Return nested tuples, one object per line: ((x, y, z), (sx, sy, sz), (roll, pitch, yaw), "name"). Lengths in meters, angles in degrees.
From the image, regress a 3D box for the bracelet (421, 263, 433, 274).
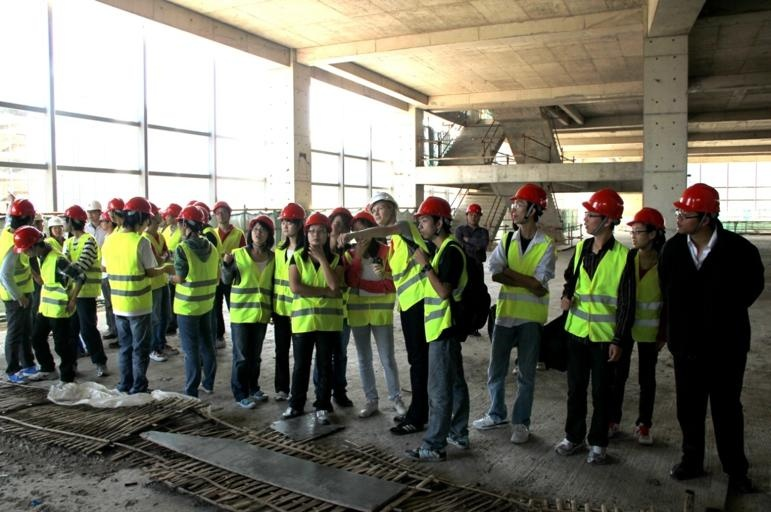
((0.437, 0.128, 6.158), (0.094, 0.100, 0.092), (-1, -24, -23), "bracelet")

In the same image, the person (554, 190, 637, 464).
((2.265, 0.750, 6.370), (0.730, 2.816, 0.904), (4, 15, 14), "person")
